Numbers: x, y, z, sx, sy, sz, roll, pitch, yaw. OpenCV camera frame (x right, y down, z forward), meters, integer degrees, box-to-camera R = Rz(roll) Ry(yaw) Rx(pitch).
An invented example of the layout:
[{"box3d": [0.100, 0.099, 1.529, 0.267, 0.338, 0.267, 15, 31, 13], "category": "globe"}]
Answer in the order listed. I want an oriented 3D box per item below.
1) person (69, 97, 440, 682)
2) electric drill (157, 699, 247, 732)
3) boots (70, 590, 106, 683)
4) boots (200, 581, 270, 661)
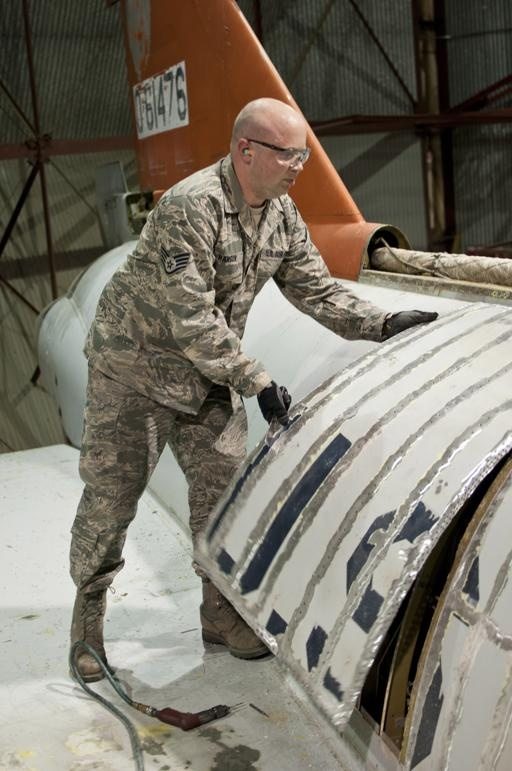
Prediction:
[{"box3d": [0.002, 0.055, 1.948, 1.088, 1.615, 0.673, 1, 12, -1], "category": "person"}, {"box3d": [-0.136, 0.881, 1.841, 0.247, 0.047, 0.089, -5, 9, -18], "category": "electric drill"}, {"box3d": [-0.513, 0.747, 2.142, 0.108, 0.303, 0.237, 2, -1, -17], "category": "boots"}, {"box3d": [-0.073, 0.727, 2.179, 0.251, 0.238, 0.111, 3, 15, 34], "category": "boots"}]
